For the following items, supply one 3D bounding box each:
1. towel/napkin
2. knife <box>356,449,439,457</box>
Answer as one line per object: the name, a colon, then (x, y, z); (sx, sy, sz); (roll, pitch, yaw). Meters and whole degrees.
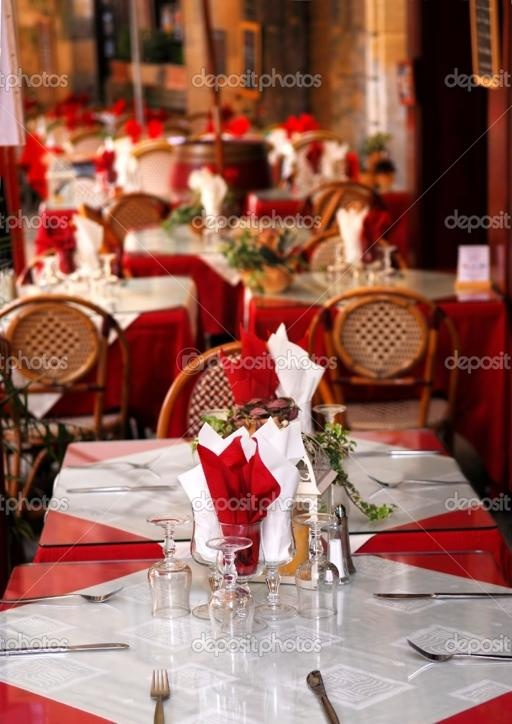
towel/napkin: (-0.013, 0.113, 0.617); (0.125, 0.136, 0.127); (-2, -4, 39)
knife: (0.189, 0.124, 0.899); (0.082, 0.007, 0.008); (1, -4, -16)
